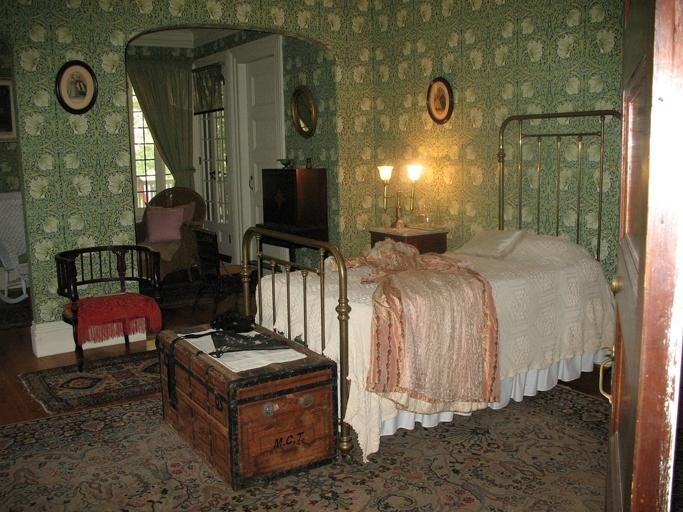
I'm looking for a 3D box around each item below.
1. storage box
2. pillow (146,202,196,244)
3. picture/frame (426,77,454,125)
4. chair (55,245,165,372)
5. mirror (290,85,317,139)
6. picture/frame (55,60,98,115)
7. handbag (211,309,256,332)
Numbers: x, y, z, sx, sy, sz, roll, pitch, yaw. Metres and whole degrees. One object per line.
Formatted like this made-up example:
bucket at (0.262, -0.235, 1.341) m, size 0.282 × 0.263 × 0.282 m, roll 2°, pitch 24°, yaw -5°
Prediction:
storage box at (-0.451, 0.562, 3.070) m, size 0.645 × 0.522 × 1.022 m, roll -7°, pitch 13°, yaw -33°
pillow at (-2.298, -0.440, 7.602) m, size 0.545 × 0.476 × 0.273 m, roll -8°, pitch 6°, yaw -14°
picture/frame at (0.994, -1.577, 5.693) m, size 0.045 × 0.439 × 0.424 m, roll -7°, pitch 19°, yaw -25°
chair at (-2.024, 0.454, 4.839) m, size 0.798 × 0.943 × 0.637 m, roll -9°, pitch 16°, yaw -35°
mirror at (-0.456, -1.757, 6.812) m, size 0.080 × 0.625 × 0.603 m, roll -9°, pitch 17°, yaw -25°
picture/frame at (-2.332, -1.487, 4.924) m, size 0.058 × 0.534 × 0.423 m, roll 13°, pitch 16°, yaw 43°
handbag at (-0.662, 0.359, 3.406) m, size 0.139 × 0.086 × 0.180 m, roll -1°, pitch 5°, yaw -38°
